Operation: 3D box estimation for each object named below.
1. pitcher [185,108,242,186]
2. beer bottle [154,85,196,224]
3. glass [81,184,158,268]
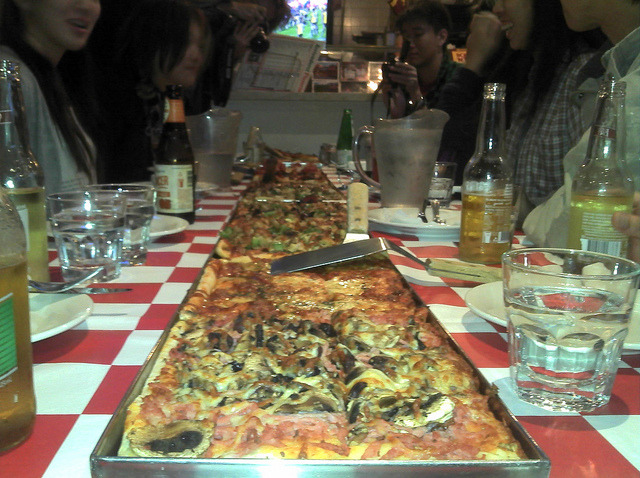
[{"bbox_3d":[-0.360,-0.324,1.837,0.250,0.244,0.235,-4,16,-5],"label":"pitcher"},{"bbox_3d":[-0.304,-0.195,1.172,0.145,0.272,0.140,3,15,-1],"label":"beer bottle"},{"bbox_3d":[-0.342,-0.026,1.017,0.172,0.164,0.145,1,16,-8],"label":"glass"}]
